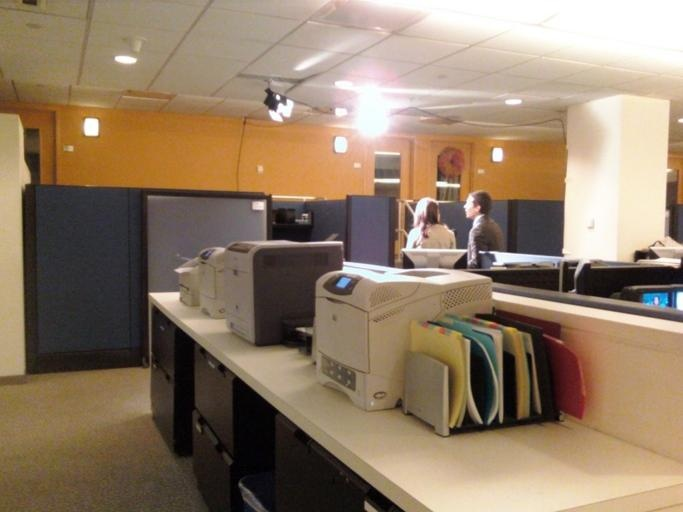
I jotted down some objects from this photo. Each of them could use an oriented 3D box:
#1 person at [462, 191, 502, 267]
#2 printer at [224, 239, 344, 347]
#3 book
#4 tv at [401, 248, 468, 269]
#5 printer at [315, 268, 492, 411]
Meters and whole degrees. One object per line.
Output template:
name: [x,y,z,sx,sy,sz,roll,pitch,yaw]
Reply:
person: [1.309,-0.225,4.892,0.340,0.675,1.196,1,14,13]
printer: [-0.311,0.178,2.756,0.502,0.530,0.476,1,-1,-22]
book: [0.436,0.390,1.760,0.316,0.318,0.409,4,-7,-17]
tv: [0.721,0.022,4.136,0.436,0.162,0.248,-5,14,-13]
printer: [0.226,0.277,2.063,0.556,0.434,0.443,-1,2,-24]
